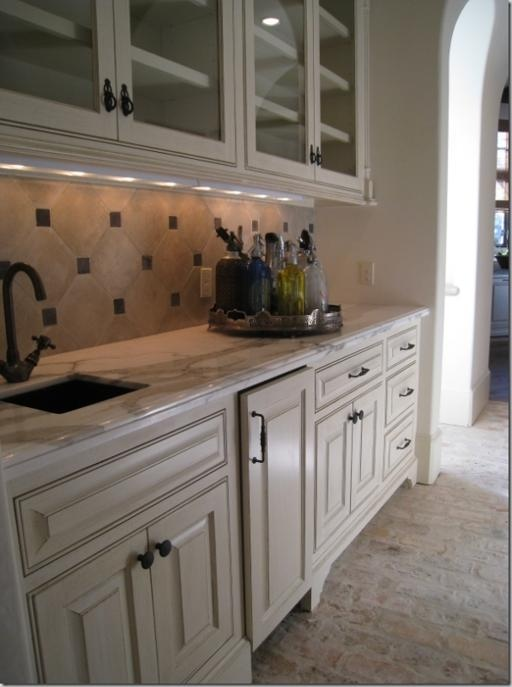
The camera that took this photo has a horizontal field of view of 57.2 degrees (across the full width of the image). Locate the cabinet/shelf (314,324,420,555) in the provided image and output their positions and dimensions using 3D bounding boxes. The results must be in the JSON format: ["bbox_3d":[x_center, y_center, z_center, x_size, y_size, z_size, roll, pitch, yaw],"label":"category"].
[{"bbox_3d":[0.404,0.354,1.731,0.195,0.631,0.589,3,14,26],"label":"cabinet/shelf"}]

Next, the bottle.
[{"bbox_3d":[0.050,-0.253,1.645,0.377,0.304,0.276,-6,8,-40],"label":"bottle"}]

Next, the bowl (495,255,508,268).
[{"bbox_3d":[2.373,-0.788,4.514,0.094,0.143,0.302,3,8,32],"label":"bowl"}]
